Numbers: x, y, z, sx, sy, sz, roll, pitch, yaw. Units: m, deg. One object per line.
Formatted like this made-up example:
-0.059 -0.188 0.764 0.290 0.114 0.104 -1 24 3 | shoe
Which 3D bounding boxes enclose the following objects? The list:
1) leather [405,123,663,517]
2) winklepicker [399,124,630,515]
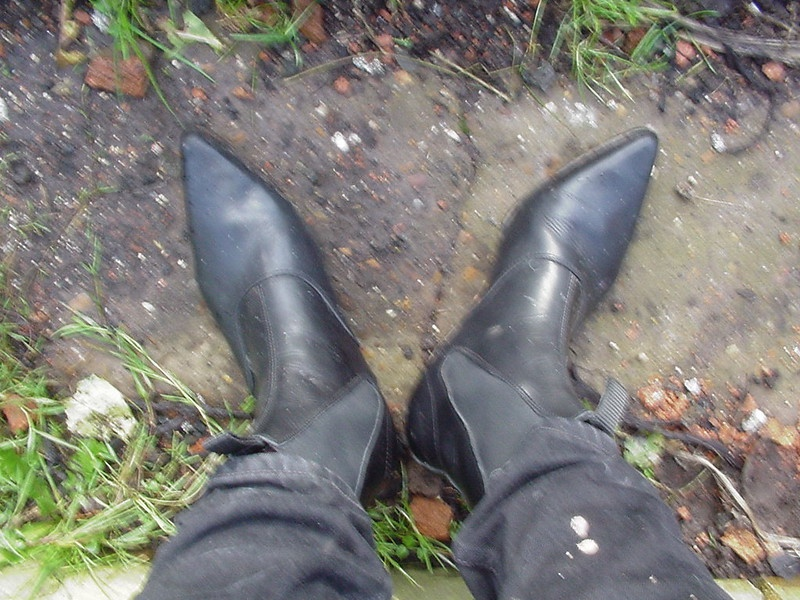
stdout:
0.327 0.053 1.618 0.298 0.374 0.887 35 88 -14 | leather
0.272 0.050 1.612 0.288 0.371 0.881 38 89 -17 | winklepicker
